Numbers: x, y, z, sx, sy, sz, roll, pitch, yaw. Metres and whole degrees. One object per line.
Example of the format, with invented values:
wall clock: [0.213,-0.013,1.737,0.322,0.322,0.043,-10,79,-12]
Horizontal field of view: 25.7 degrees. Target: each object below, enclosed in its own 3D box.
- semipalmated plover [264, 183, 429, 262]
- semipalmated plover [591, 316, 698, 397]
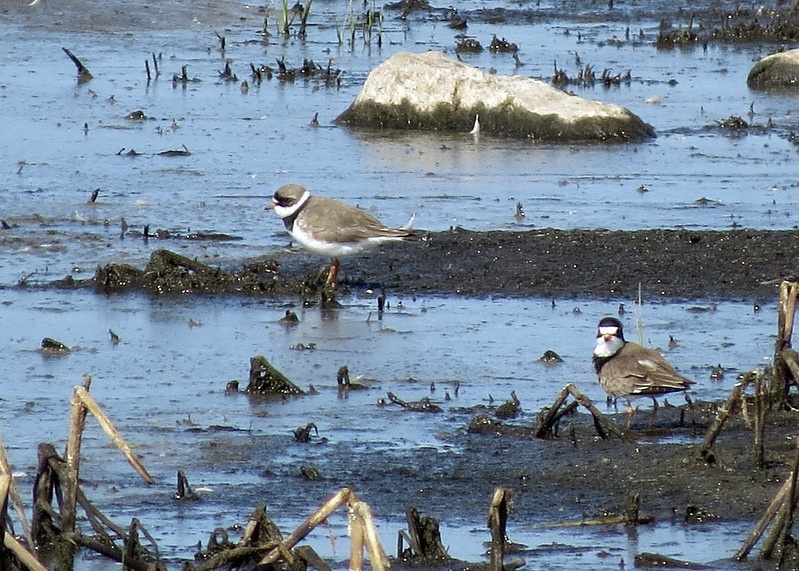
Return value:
semipalmated plover: [-0.734,-0.692,21.393,1.847,0.991,0.636,3,24,-1]
semipalmated plover: [2.473,0.808,17.871,1.065,0.759,0.650,5,20,28]
